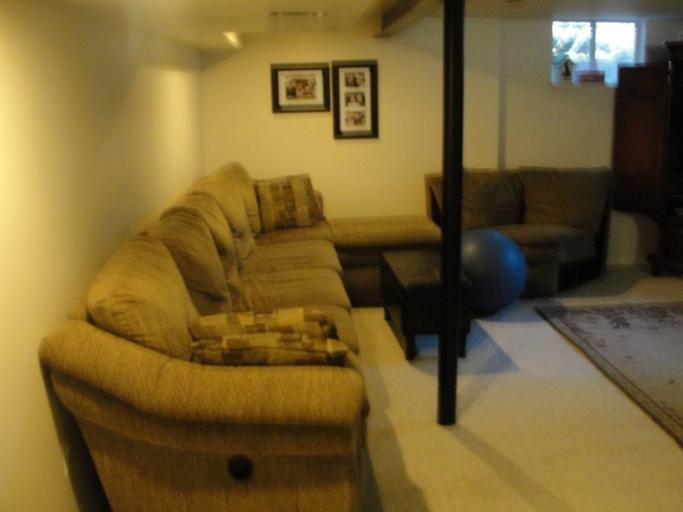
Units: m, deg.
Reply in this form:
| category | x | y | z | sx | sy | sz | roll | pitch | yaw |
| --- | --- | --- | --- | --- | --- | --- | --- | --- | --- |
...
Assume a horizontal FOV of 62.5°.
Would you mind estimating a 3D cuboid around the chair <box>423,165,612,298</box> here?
| category | x | y | z | sx | sy | sz | roll | pitch | yaw |
| --- | --- | --- | --- | --- | --- | --- | --- | --- | --- |
| chair | 1.264 | -0.169 | 4.117 | 1.332 | 0.938 | 1.123 | -2 | 4 | 6 |
